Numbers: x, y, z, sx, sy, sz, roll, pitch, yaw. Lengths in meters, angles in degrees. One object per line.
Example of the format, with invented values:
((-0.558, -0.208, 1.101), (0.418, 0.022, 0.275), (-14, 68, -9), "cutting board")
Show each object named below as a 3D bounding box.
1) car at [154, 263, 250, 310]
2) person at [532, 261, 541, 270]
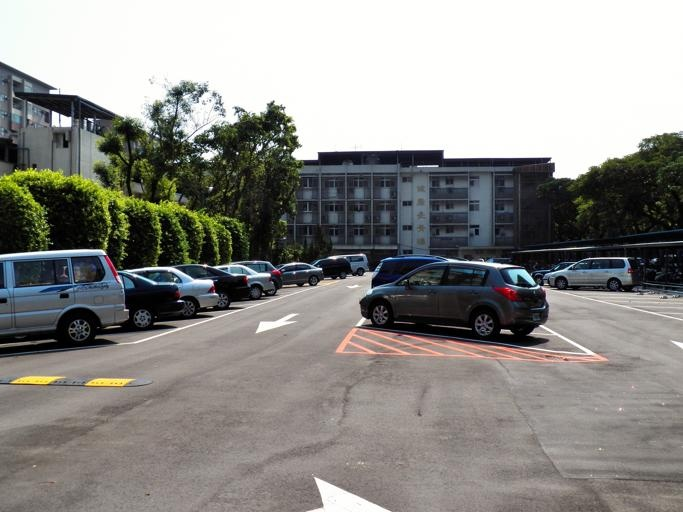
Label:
((-5.391, 1.115, 21.339), (2.863, 1.086, 1.299), (2, -4, -8), "car")
((23.194, 1.097, 61.768), (0.917, 0.974, 1.755), (-1, -12, 9), "person")
